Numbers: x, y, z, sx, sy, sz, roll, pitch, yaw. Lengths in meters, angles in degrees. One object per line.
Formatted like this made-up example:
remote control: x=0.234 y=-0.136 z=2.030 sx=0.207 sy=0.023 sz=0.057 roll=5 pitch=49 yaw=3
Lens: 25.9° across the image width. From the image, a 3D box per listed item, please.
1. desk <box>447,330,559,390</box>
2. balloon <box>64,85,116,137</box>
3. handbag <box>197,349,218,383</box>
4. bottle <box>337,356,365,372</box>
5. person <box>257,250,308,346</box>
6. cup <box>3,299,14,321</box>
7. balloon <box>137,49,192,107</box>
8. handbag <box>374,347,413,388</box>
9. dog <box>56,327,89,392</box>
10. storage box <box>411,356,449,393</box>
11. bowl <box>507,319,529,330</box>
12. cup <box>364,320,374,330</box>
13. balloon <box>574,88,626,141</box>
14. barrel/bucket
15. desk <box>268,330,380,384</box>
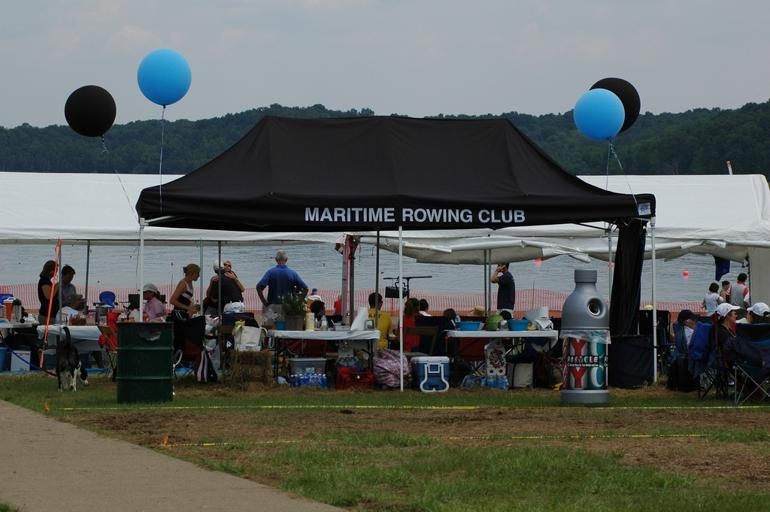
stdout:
desk: x=2.394 y=2.055 z=33.776 sx=2.158 sy=1.138 sz=1.407 roll=0 pitch=-6 yaw=3
balloon: x=-5.900 y=-2.893 z=33.322 sx=0.953 sy=0.994 sz=0.685 roll=1 pitch=-6 yaw=-12
handbag: x=-3.668 y=2.217 z=34.266 sx=0.507 sy=0.787 sz=0.755 roll=1 pitch=0 yaw=3
bottle: x=-0.688 y=2.153 z=33.772 sx=0.568 sy=0.270 sz=0.388 roll=0 pitch=-6 yaw=-3
person: x=-2.391 y=0.734 z=35.572 sx=0.896 sy=2.022 sz=0.809 roll=1 pitch=-5 yaw=37
cup: x=-8.065 y=1.144 z=35.627 sx=0.219 sy=0.459 sz=0.593 roll=2 pitch=-6 yaw=-13
balloon: x=-4.300 y=-3.450 z=32.317 sx=0.950 sy=1.074 sz=0.488 roll=-1 pitch=-6 yaw=14
handbag: x=0.144 y=2.250 z=33.763 sx=0.772 sy=0.791 sz=0.393 roll=1 pitch=-6 yaw=-6
dog: x=-6.260 y=1.989 z=33.306 sx=0.628 sy=1.354 sz=2.279 roll=1 pitch=-6 yaw=-11
storage box: x=0.930 y=2.355 z=33.491 sx=0.564 sy=0.492 sz=0.686 roll=0 pitch=1 yaw=-5
bowl: x=2.706 y=1.361 z=33.678 sx=0.474 sy=0.248 sz=0.224 roll=3 pitch=-7 yaw=-24
cup: x=-0.330 y=1.381 z=33.896 sx=0.175 sy=0.160 sz=0.183 roll=0 pitch=-4 yaw=0
balloon: x=4.290 y=-2.903 z=33.588 sx=1.005 sy=1.079 sz=1.025 roll=-1 pitch=-6 yaw=7
barrel/bucket: x=-4.589 y=1.957 z=31.528 sx=0.953 sy=1.556 sz=1.114 roll=2 pitch=-4 yaw=-19
desk: x=-1.157 y=1.826 z=34.550 sx=2.576 sy=1.506 sz=1.406 roll=1 pitch=-3 yaw=1
